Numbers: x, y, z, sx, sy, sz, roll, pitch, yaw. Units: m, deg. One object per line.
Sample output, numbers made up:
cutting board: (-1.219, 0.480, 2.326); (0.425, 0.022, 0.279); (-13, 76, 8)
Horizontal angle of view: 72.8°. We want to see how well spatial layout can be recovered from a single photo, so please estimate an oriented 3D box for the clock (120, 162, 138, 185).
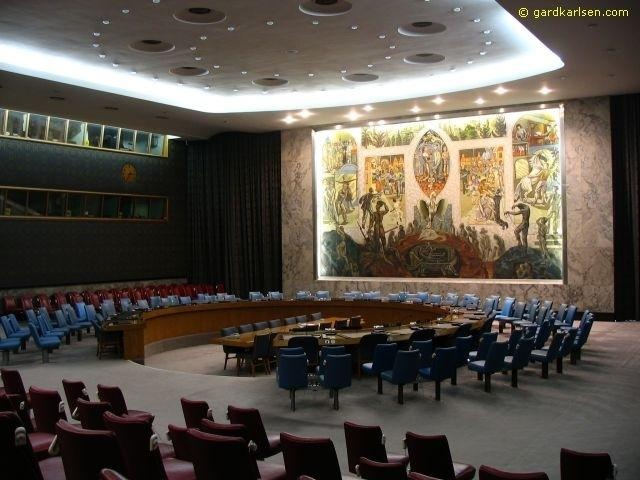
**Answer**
clock: (-8.901, -3.154, 20.331); (0.134, 0.913, 0.769); (3, 5, 34)
